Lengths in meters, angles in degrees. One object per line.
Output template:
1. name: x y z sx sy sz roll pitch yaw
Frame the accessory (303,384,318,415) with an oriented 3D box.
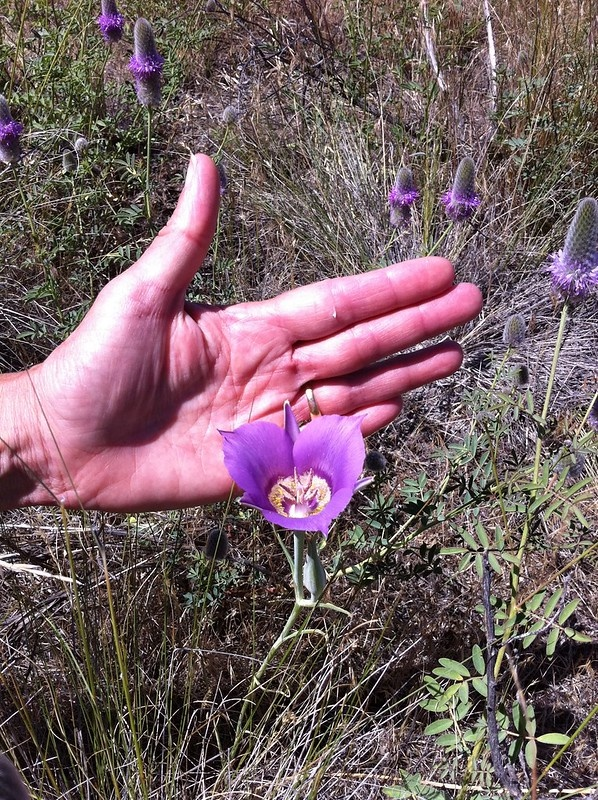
1. accessory: 0.041 -0.005 2.717 0.020 0.104 0.088 -18 19 -5

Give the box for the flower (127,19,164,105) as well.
1. flower: -0.663 -1.443 3.139 0.147 0.373 0.374 -5 35 -11
